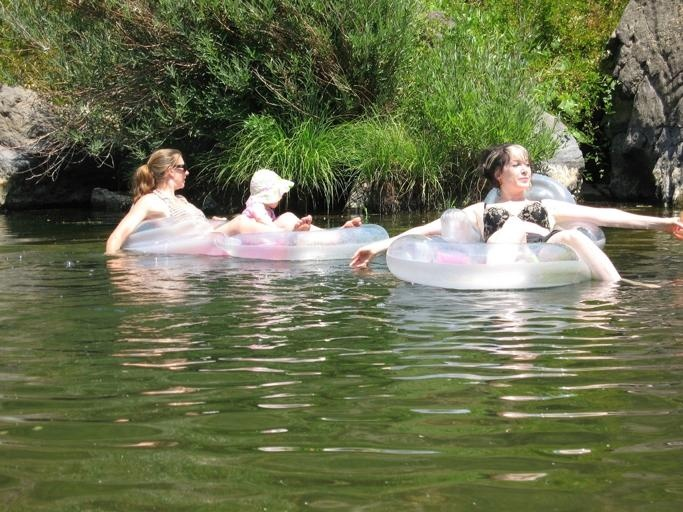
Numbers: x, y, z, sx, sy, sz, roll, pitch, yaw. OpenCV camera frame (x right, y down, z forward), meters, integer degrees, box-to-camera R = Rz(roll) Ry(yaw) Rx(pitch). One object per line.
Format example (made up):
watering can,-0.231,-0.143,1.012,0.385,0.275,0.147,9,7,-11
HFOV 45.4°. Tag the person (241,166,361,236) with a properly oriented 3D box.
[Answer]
person,-0.434,-0.475,7.689,1.218,0.384,0.652,0,14,5

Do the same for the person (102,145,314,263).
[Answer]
person,-1.087,-0.468,8.008,2.120,0.671,1.151,3,12,7

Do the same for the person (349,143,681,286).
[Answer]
person,1.417,-0.278,6.179,2.639,0.791,1.339,-1,-14,-2

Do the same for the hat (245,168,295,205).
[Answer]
hat,-0.695,-0.637,7.926,0.509,0.185,0.390,-12,17,3
